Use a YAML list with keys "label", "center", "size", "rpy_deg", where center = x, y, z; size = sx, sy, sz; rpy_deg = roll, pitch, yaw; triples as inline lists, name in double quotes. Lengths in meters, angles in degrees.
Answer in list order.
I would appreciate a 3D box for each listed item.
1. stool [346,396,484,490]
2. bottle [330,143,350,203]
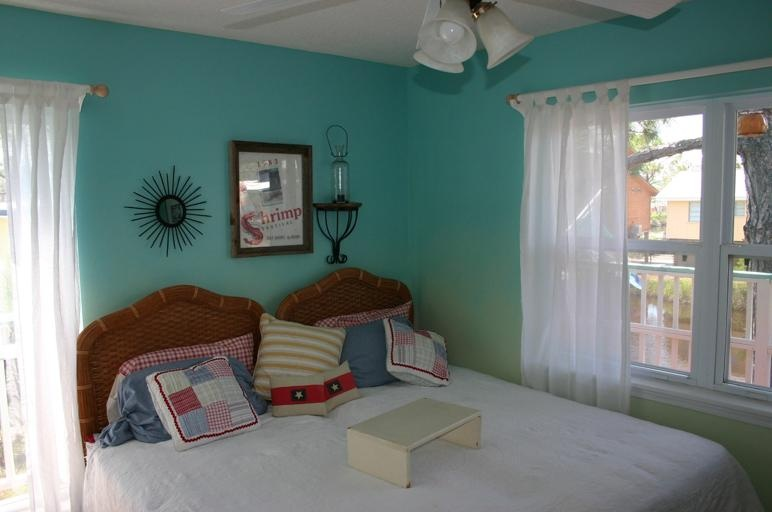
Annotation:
- label: "stool"
  center: [0.062, 0.906, 3.004]
  size: [0.386, 0.198, 0.558]
  rpy_deg: [2, 5, 39]
- label: "bottle"
  center: [-0.365, -0.654, 4.346]
  size: [0.144, 0.465, 0.287]
  rpy_deg: [-5, 8, -3]
